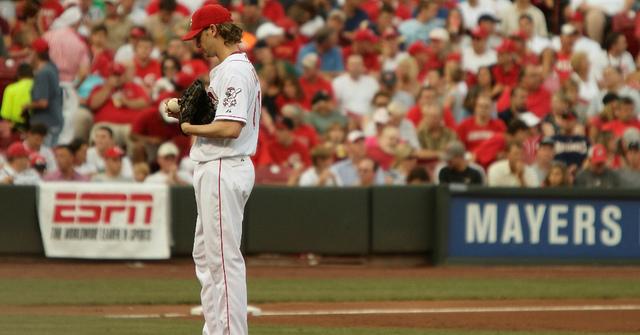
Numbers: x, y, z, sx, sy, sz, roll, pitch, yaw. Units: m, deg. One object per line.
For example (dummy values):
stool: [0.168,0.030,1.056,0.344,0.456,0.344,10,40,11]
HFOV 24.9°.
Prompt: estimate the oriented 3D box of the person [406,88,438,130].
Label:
person: [1.727,-1.017,25.362,0.666,0.731,0.387,-3,-4,36]

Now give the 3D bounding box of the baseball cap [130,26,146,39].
baseball cap: [-3.466,-2.558,27.575,0.272,0.251,0.361,-1,-3,-7]

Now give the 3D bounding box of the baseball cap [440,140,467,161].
baseball cap: [2.215,-0.270,24.269,0.413,0.226,0.277,-11,24,0]

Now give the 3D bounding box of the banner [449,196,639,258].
banner: [3.667,1.015,23.908,2.860,1.009,0.454,0,0,-3]

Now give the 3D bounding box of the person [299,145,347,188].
person: [0.040,-0.025,24.806,0.779,0.669,0.403,-1,-3,-1]

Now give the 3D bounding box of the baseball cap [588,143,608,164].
baseball cap: [4.606,-0.232,24.035,0.231,0.180,0.361,-3,12,9]

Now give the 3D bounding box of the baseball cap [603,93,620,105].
baseball cap: [5.021,-1.193,25.023,0.214,0.206,0.271,0,-3,-14]

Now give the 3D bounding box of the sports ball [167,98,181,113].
sports ball: [-2.164,-0.898,21.461,0.204,0.184,0.198,-6,-17,-2]

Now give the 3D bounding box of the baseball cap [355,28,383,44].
baseball cap: [0.887,-2.403,26.484,0.208,0.339,0.592,1,-3,-31]

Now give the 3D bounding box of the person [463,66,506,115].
person: [2.889,-1.341,25.204,0.702,0.843,0.577,0,-3,-20]

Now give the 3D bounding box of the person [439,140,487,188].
person: [2.390,-0.032,24.274,0.520,0.807,0.644,-20,8,-41]

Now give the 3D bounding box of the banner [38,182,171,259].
banner: [-3.525,0.869,23.673,2.114,1.254,0.075,-1,-3,-2]

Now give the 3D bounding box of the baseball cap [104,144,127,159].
baseball cap: [-3.533,-0.257,24.820,0.305,0.233,0.341,0,-3,-11]
